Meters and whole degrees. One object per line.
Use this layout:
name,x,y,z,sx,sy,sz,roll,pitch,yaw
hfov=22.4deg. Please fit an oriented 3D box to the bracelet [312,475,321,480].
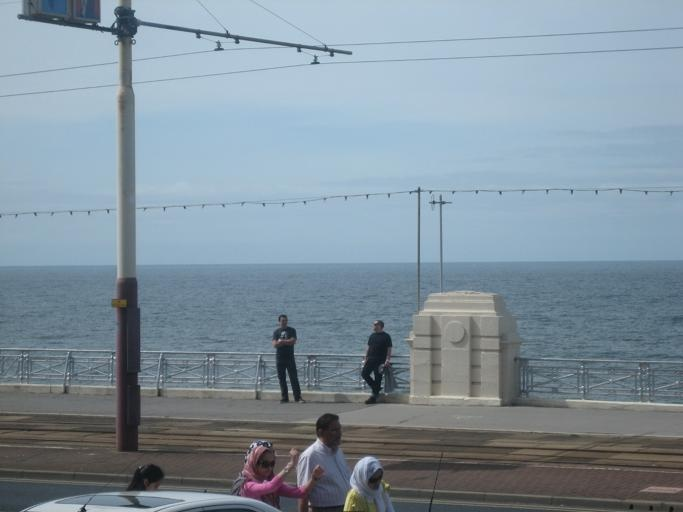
bracelet,-0.516,4.473,34.832,0.120,0.106,0.075,5,0,-19

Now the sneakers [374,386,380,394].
sneakers,1.004,3.633,46.614,0.194,0.289,0.173,4,-14,2

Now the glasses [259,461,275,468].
glasses,-1.468,4.188,34.761,0.157,0.145,0.384,-3,-3,41

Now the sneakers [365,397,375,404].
sneakers,0.818,3.890,46.606,0.285,0.175,0.181,-1,-2,-3

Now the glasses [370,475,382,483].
glasses,0.737,4.479,34.638,0.134,0.112,0.322,-3,-3,40

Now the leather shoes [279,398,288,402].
leather shoes,-1.563,3.943,47.132,0.241,0.090,0.197,-1,-2,-2

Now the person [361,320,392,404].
person,0.982,2.875,46.918,0.827,2.222,0.945,-1,-3,1
